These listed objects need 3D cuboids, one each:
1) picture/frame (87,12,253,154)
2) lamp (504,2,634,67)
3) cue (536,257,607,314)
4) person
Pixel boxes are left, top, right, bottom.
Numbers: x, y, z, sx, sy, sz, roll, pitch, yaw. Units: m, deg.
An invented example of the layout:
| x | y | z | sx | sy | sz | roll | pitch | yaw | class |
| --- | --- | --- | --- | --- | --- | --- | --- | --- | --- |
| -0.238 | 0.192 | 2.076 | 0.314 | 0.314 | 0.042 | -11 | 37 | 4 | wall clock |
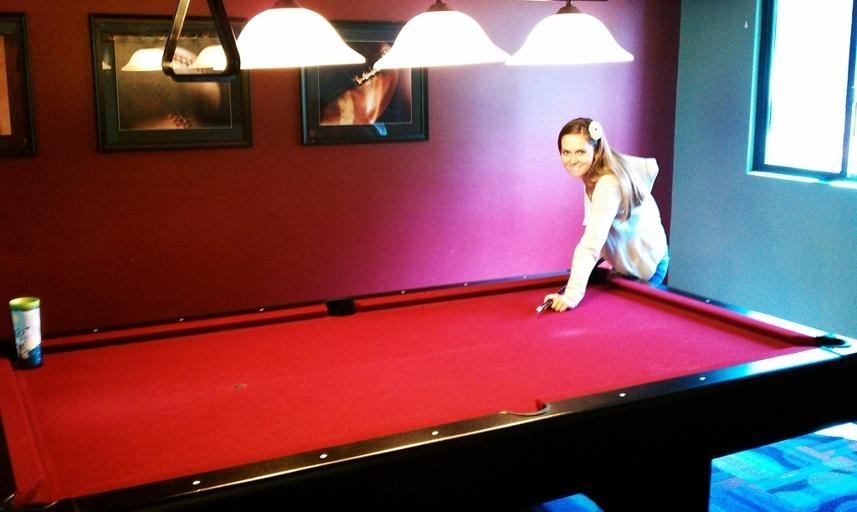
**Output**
| x | y | z | sx | sy | sz | roll | pitch | yaw | class |
| --- | --- | --- | --- | --- | --- | --- | --- | --- | --- |
| -1.815 | -1.112 | 4.460 | 1.190 | 1.032 | 0.138 | -9 | 23 | -28 | picture/frame |
| 0.632 | -1.024 | 3.291 | 0.502 | 0.236 | 0.465 | -8 | 21 | -14 | lamp |
| 0.961 | 0.107 | 3.983 | 0.159 | 0.092 | 1.156 | 6 | 16 | 37 | cue |
| 1.094 | -0.258 | 3.970 | 0.702 | 1.256 | 1.053 | 3 | 2 | 11 | person |
